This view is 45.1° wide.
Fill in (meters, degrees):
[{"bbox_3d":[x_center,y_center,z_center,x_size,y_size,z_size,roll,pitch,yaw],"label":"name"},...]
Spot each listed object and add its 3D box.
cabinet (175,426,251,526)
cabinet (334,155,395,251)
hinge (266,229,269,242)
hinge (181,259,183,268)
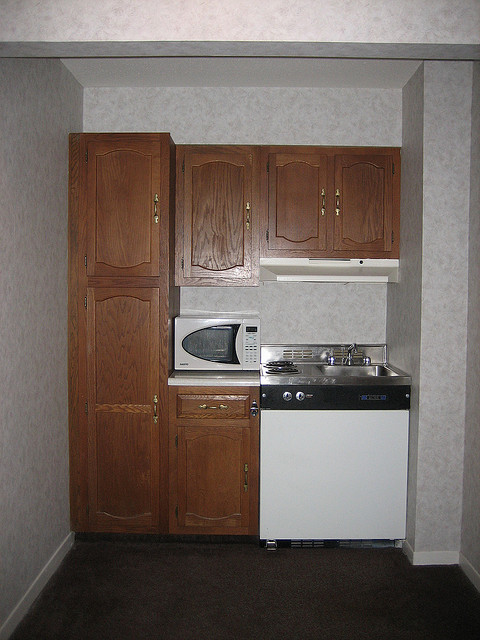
[{"bbox_3d":[-0.129,0.751,3.037,0.365,0.765,0.407,0,-2,1],"label":"cabinet"},{"bbox_3d":[0.607,-0.612,3.193,0.322,0.688,0.375,0,-1,1],"label":"cabinet"},{"bbox_3d":[0.143,-0.437,3.008,0.014,0.058,0.002,2,5,21],"label":"hinge"},{"bbox_3d":[-0.304,-0.292,3.012,0.009,0.042,0.004,1,4,17],"label":"hinge"}]
